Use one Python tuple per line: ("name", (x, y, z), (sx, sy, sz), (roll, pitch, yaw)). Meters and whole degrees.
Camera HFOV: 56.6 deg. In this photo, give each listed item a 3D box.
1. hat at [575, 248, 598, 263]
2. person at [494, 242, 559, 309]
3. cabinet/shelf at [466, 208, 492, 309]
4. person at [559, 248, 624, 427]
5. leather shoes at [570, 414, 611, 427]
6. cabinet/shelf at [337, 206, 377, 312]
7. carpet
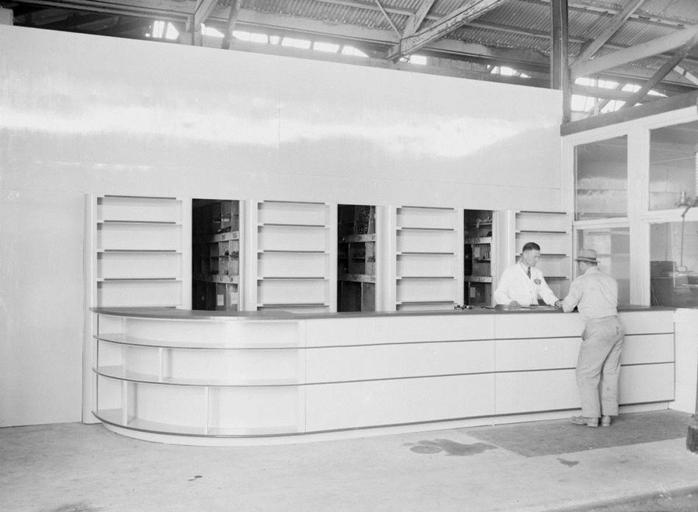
("hat", (2.953, 0.006, 8.053), (0.208, 0.099, 0.184), (6, -2, -9))
("person", (2.354, 0.360, 8.603), (0.828, 1.029, 0.626), (3, -2, 3))
("cabinet/shelf", (2.035, 0.017, 10.445), (0.353, 1.297, 0.963), (-1, 0, -12))
("person", (2.972, 0.987, 7.926), (0.659, 2.009, 0.353), (-1, -1, 22))
("leather shoes", (2.919, 1.951, 7.915), (0.188, 0.148, 0.354), (2, -2, -38))
("cabinet/shelf", (0.087, 0.028, 10.760), (0.492, 1.335, 1.788), (-1, 0, -6))
("carpet", (2.753, 2.057, 7.576), (2.699, 0.069, 1.060), (-1, 0, -17))
